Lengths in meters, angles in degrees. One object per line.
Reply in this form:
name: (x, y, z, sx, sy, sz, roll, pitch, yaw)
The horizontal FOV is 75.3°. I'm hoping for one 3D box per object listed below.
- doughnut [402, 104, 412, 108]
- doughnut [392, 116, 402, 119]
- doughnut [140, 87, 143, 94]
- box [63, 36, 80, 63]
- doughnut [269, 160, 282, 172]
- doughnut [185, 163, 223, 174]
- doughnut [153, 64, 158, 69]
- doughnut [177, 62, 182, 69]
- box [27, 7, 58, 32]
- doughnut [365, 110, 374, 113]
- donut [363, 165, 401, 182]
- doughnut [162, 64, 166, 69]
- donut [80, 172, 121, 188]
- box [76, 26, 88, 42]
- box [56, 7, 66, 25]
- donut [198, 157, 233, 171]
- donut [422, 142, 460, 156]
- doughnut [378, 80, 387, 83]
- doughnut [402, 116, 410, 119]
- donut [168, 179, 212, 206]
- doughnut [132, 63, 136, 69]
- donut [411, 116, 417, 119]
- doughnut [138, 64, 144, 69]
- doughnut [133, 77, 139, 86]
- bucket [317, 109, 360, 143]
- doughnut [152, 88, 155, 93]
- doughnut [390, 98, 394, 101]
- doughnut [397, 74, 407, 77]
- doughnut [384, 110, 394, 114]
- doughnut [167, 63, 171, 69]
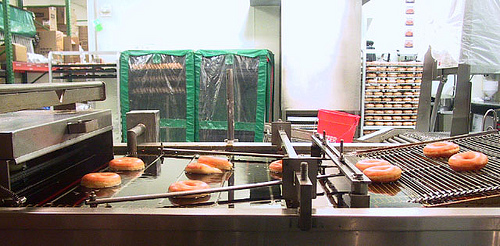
doughnut: (3.529, -0.391, 7.297, 0.206, 0.078, 0.043, 0, 12, 0)
doughnut: (3.336, -0.128, 7.362, 0.220, 0.060, 0.046, -1, 11, -5)
doughnut: (-2.161, -0.653, 6.457, 0.048, 0.117, 0.017, 0, 12, 1)
box: (-3.861, -1.605, 7.006, 0.312, 0.581, 0.568, -6, 12, -25)
doughnut: (0.240, 0.406, 3.026, 0.180, 0.052, 0.162, 0, 2, 4)
doughnut: (-0.444, 0.411, 2.984, 0.244, 0.051, 0.122, 2, -4, 10)
doughnut: (-1.867, -1.126, 6.449, 0.064, 0.087, 0.016, -1, 12, -3)
doughnut: (-1.396, -1.156, 6.422, 0.096, 0.116, 0.025, 3, 13, 14)
box: (-4.188, -2.165, 6.730, 0.509, 0.573, 0.550, 9, 15, 40)
doughnut: (2.697, -0.266, 7.328, 0.189, 0.067, 0.048, -2, 12, -12)
donut: (1.180, 0.459, 2.944, 0.290, 0.081, 0.262, -9, 2, -7)
doughnut: (-1.711, -1.131, 6.448, 0.070, 0.097, 0.019, 1, 13, 7)
donut: (-1.309, 0.502, 2.834, 0.324, 0.113, 0.152, -4, 11, -22)
box: (-4.009, -2.165, 7.838, 0.235, 0.368, 0.157, -2, 12, -6)
box: (-4.034, -2.316, 6.984, 0.316, 0.360, 0.102, 7, 14, 33)
donut: (-0.323, 0.359, 3.048, 0.251, 0.069, 0.126, 14, 6, 6)
donut: (1.868, 0.255, 3.177, 0.299, 0.120, 0.156, 5, 12, 25)
doughnut: (2.935, -0.929, 7.194, 0.203, 0.055, 0.040, -3, 12, -16)
doughnut: (3.527, -0.126, 7.351, 0.148, 0.056, 0.018, 1, 12, 5)
donut: (-0.503, 0.572, 2.738, 0.357, 0.141, 0.346, -2, 10, -8)
doughnut: (-2.289, -1.127, 6.428, 0.054, 0.096, 0.029, -3, 13, -11)
donut: (3.403, -0.131, 6.745, 0.174, 0.047, 0.166, -1, -1, 29)
doughnut: (-2.167, -1.128, 6.429, 0.091, 0.096, 0.028, -3, 13, -12)
doughnut: (-2.260, -0.842, 6.439, 0.103, 0.145, 0.028, 3, 13, 14)
bucket: (1.291, 0.050, 4.702, 0.638, 0.399, 0.431, 6, 13, 13)
doughnut: (-1.924, -0.656, 6.477, 0.048, 0.098, 0.016, 0, 12, 4)
doughnut: (3.189, -0.519, 7.298, 0.069, 0.054, 0.033, 0, 6, 9)
doughnut: (3.356, -1.059, 7.186, 0.179, 0.054, 0.063, 2, 11, 11)
doughnut: (3.140, -0.255, 7.332, 0.218, 0.087, 0.072, -2, 11, -11)
doughnut: (-1.601, -1.142, 6.436, 0.110, 0.090, 0.028, 5, 15, 34)
